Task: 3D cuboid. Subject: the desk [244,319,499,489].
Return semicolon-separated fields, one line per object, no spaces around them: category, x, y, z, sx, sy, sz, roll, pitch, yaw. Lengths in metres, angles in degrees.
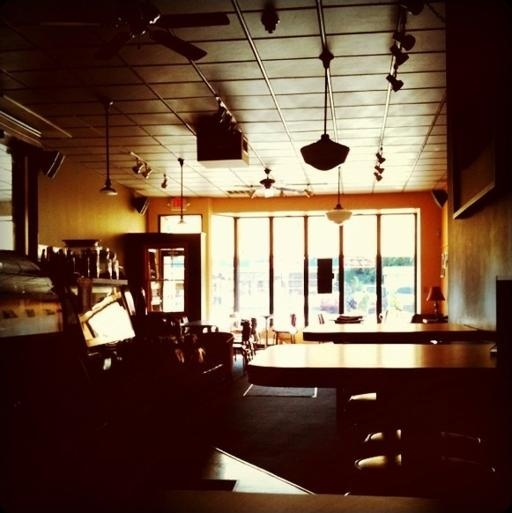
desk;0.648;0.803;2.681;1.093;0.727;1.450;0;-3;10

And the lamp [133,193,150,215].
lamp;-2.336;-1.091;10.847;0.321;0.407;0.513;1;-3;-3

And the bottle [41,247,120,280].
bottle;-1.305;0.050;3.990;0.415;0.140;0.314;1;-3;32

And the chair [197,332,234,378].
chair;-0.515;1.273;7.041;0.498;0.591;0.523;1;1;6

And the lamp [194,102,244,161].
lamp;-0.430;-1.361;6.103;0.445;0.568;0.837;-3;6;2
